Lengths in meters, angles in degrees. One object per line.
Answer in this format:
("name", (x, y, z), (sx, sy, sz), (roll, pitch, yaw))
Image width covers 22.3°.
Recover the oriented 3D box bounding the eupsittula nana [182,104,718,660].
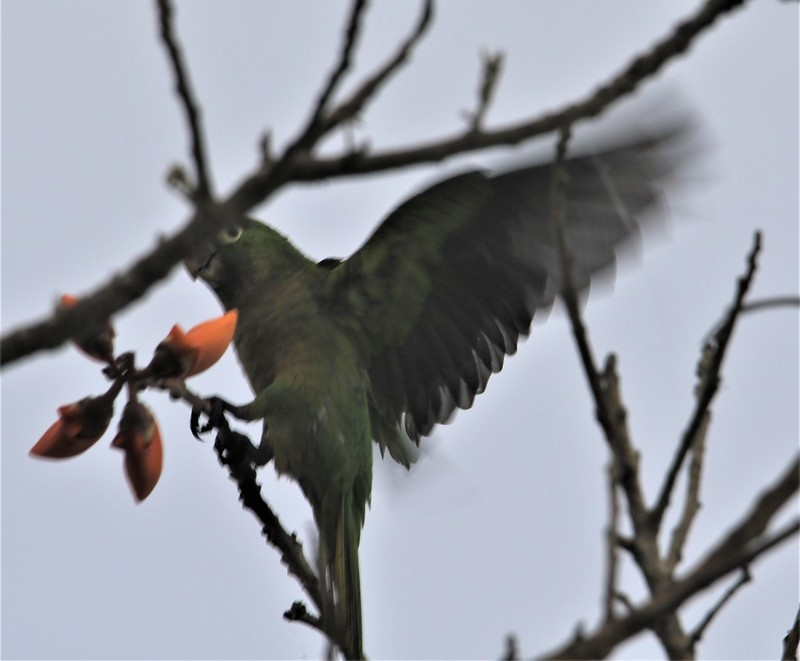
("eupsittula nana", (0.164, -0.033, 3.682), (1.043, 0.453, 0.741), (-36, -93, 31))
